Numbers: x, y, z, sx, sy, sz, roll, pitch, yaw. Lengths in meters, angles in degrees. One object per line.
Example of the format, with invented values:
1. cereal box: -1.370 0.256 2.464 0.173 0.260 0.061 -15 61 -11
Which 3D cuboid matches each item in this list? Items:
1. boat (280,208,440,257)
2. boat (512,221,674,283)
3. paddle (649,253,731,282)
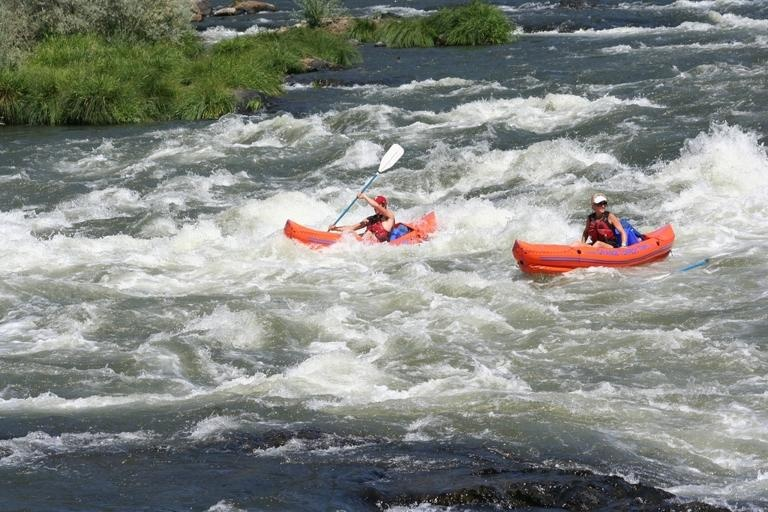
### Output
1. boat: -0.690 -0.514 26.502 3.827 0.554 0.933 -2 19 -10
2. boat: 4.266 -0.033 25.203 3.978 0.659 0.933 -2 24 -8
3. paddle: 6.261 0.258 24.726 1.940 0.160 0.154 -13 56 -19
